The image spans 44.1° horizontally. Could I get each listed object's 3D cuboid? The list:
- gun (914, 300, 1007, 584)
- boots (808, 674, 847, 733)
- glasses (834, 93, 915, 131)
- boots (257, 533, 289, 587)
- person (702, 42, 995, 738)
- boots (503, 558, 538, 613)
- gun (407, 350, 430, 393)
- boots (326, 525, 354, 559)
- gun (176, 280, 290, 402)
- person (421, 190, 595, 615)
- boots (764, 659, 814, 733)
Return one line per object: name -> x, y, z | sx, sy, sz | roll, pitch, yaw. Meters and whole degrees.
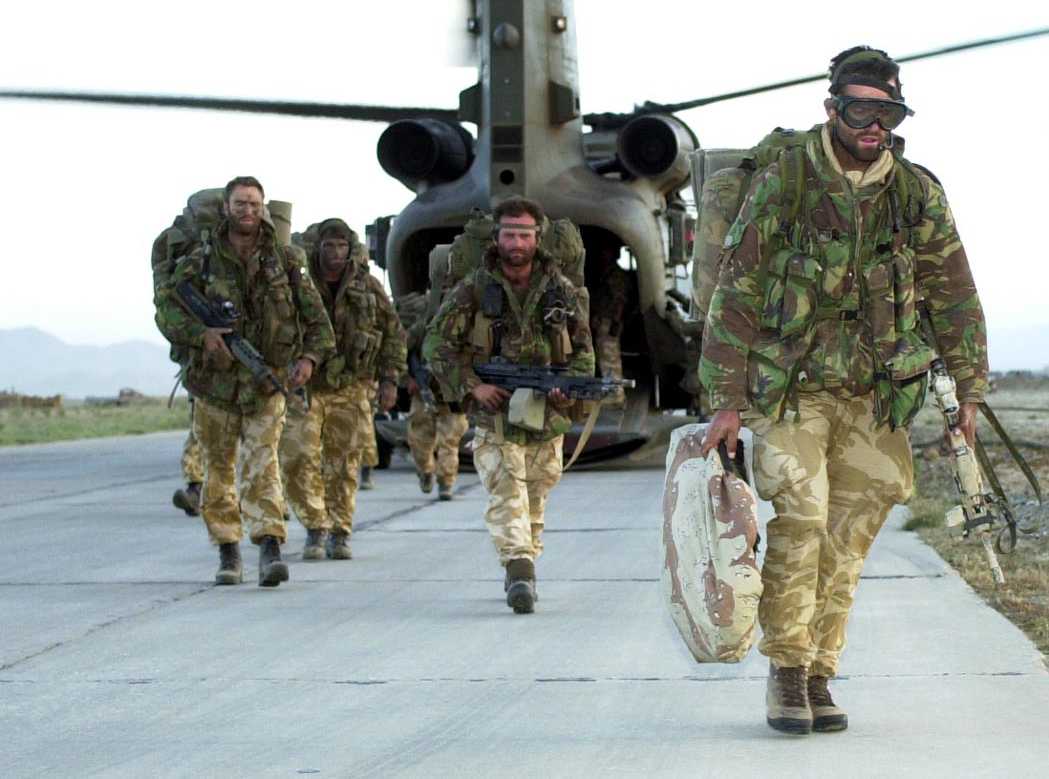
gun -> 2.493, 0.423, 7.380 | 0.333, 1.444, 0.425 | -14, 0, 10
boots -> 1.210, 1.232, 5.230 | 0.113, 0.163, 0.355 | -4, 2, 0
glasses -> 1.384, -1.096, 5.082 | 0.291, 0.147, 0.098 | -1, 2, 14
boots -> -1.637, 1.064, 8.350 | 0.159, 0.371, 0.377 | 3, -8, -19
person -> 1.281, -0.019, 5.215 | 1.191, 2.692, 0.381 | -2, 2, -16
boots -> -0.010, 1.105, 7.415 | 0.174, 0.287, 0.263 | -2, 2, -1
gun -> -0.759, -0.148, 9.425 | 0.146, 0.138, 0.541 | 37, 20, -25
boots -> -1.381, 1.118, 9.617 | 0.160, 0.221, 0.501 | 1, -8, -10
gun -> -1.877, -0.339, 8.257 | 0.361, 0.941, 0.133 | -44, -10, 11
person -> -0.016, 0.108, 7.850 | 0.935, 2.501, 0.917 | -5, -8, 35
boots -> 1.047, 1.205, 5.066 | 0.174, 0.262, 0.154 | -1, 2, 20
